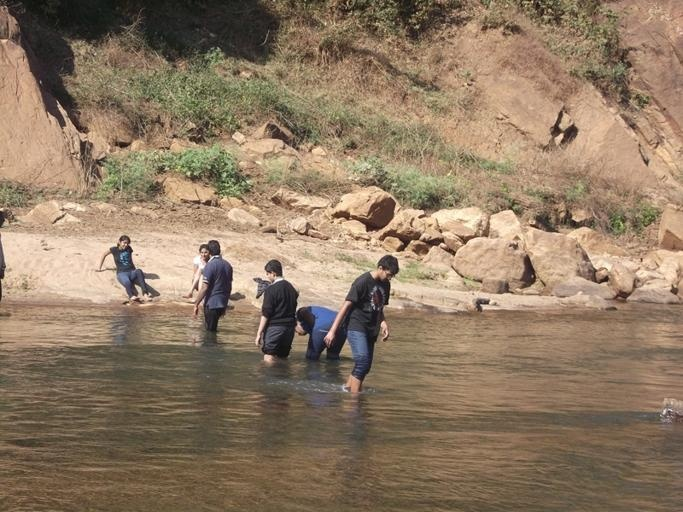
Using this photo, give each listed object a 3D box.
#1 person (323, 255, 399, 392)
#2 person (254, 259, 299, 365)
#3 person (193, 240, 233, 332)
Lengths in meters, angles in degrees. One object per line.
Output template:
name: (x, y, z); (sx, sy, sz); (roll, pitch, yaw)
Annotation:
person: (0.359, 1.577, 22.845); (1.485, 3.237, 1.031); (7, 1, -12)
person: (-1.444, 1.268, 24.252); (1.009, 2.324, 0.638); (4, 3, -21)
person: (-3.095, 0.768, 26.055); (0.857, 2.286, 1.398); (5, 3, -7)
